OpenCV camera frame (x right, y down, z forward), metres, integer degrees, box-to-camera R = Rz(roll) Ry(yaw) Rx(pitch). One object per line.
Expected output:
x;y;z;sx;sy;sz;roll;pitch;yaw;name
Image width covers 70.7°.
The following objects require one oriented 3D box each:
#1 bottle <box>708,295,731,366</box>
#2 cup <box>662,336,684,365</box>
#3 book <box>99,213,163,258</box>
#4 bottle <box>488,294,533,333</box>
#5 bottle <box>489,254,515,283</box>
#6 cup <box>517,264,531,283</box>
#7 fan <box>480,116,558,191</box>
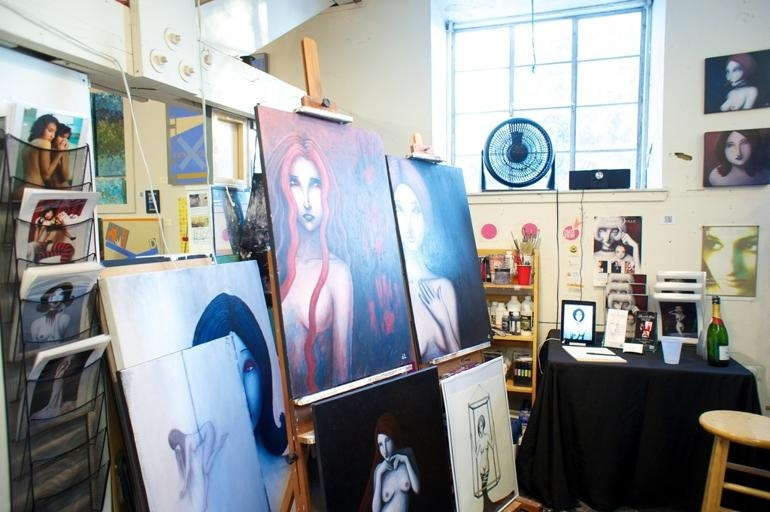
2.264;0.501;3.722;0.145;0.459;0.170;-1;3;2;bottle
1.947;0.632;3.708;0.151;0.183;0.162;2;4;0;cup
-2.410;-0.189;5.208;0.176;0.512;0.482;-12;-7;35;book
1.045;0.478;4.500;0.348;0.292;0.210;-1;3;10;bottle
0.947;0.096;4.412;0.152;0.252;0.237;-1;-5;24;bottle
1.121;0.140;4.433;0.120;0.132;0.122;1;-4;0;cup
1.094;-0.850;4.480;0.567;0.540;0.186;-1;4;16;fan
